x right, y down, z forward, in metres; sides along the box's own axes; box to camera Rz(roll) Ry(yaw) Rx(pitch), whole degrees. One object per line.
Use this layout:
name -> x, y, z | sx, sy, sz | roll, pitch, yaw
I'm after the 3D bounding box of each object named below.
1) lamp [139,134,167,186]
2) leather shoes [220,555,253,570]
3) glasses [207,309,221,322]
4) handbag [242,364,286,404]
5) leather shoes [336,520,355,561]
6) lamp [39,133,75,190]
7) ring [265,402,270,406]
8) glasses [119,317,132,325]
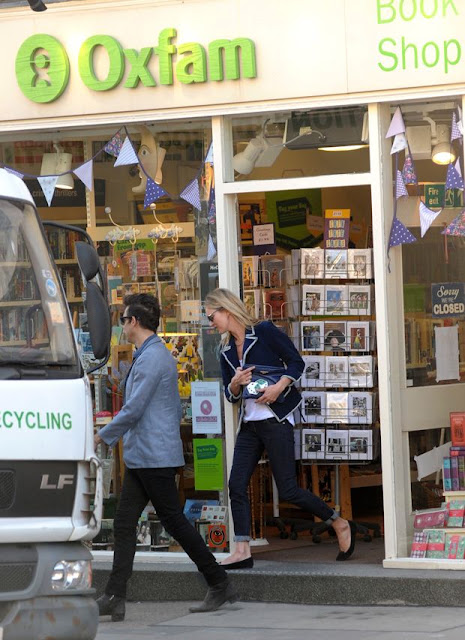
lamp -> -0.614, -1.207, 6.126 | 0.230, 0.370, 0.101 | -3, 4, 12
leather shoes -> 0.036, 1.554, 5.337 | 0.230, 0.086, 0.081 | 2, -4, -12
glasses -> -0.124, -0.033, 5.258 | 0.022, 0.069, 0.067 | 25, -17, -15
handbag -> 0.200, 0.391, 5.235 | 0.282, 0.211, 0.156 | -4, 4, -1
leather shoes -> 0.778, 1.463, 5.490 | 0.088, 0.298, 0.109 | 2, 3, -16
lamp -> -1.418, -1.250, 6.395 | 0.219, 0.274, 0.189 | -23, 3, 34
ring -> 0.224, 0.512, 5.174 | 0.019, 0.016, 0.063 | 9, -7, 11
glasses -> -0.686, -0.007, 5.172 | 0.044, 0.014, 0.045 | -1, -38, 4
